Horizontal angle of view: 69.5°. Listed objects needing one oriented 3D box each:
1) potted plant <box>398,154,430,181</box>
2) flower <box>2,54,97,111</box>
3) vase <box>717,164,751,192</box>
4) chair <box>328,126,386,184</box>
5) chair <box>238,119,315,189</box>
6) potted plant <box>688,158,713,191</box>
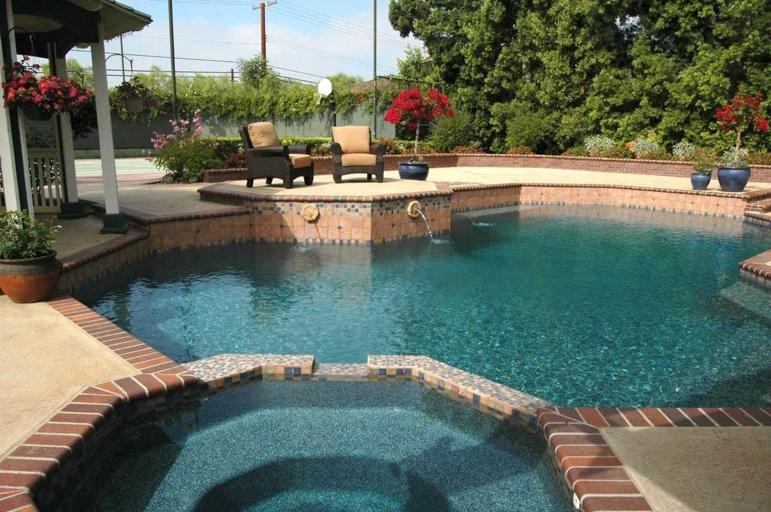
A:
[{"bbox_3d":[0.705,-2.048,13.386,0.627,0.444,0.950,0,16,-2],"label":"potted plant"},{"bbox_3d":[-3.974,-1.974,6.524,0.370,0.528,1.041,2,16,6],"label":"flower"},{"bbox_3d":[8.415,-1.860,13.512,0.669,0.514,0.672,0,4,5],"label":"vase"},{"bbox_3d":[-0.600,-2.289,12.738,1.151,1.221,1.153,0,16,-2],"label":"chair"},{"bbox_3d":[-2.291,-2.096,11.707,1.224,1.321,1.328,3,16,11],"label":"chair"},{"bbox_3d":[7.735,-1.976,13.613,0.403,0.728,0.623,9,18,28],"label":"potted plant"}]
